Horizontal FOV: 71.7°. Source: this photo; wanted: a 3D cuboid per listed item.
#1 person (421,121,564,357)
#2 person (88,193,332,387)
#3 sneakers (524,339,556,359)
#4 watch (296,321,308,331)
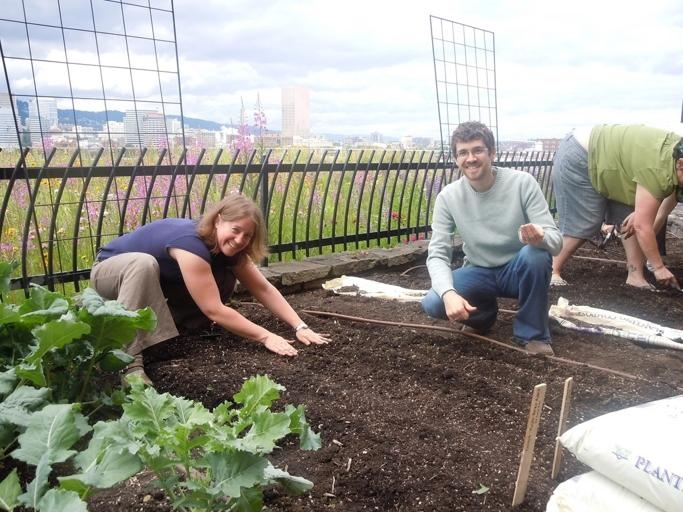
[{"bbox_3d":[1.005,-0.108,3.271,0.927,1.526,0.978,-5,11,21],"label":"person"},{"bbox_3d":[-0.915,0.133,3.188,1.429,1.157,0.925,5,9,0],"label":"person"},{"bbox_3d":[1.330,0.624,3.177,0.155,0.100,0.061,19,-17,26],"label":"sneakers"},{"bbox_3d":[-0.276,0.495,3.356,0.075,0.050,0.079,-37,-6,20],"label":"watch"}]
